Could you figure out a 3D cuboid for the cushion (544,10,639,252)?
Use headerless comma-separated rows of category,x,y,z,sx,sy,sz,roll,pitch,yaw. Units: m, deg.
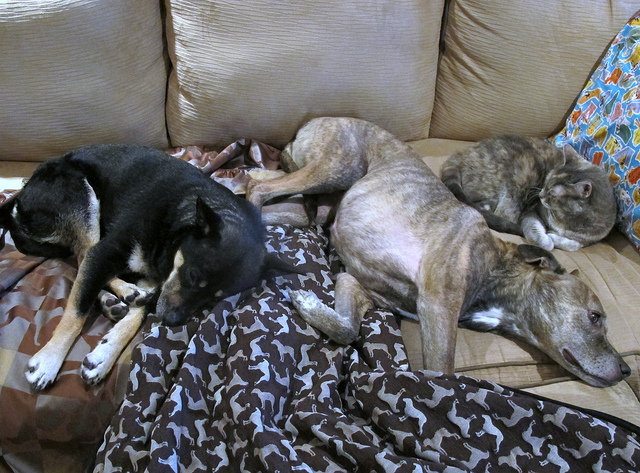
cushion,1.867,-0.649,3.749,0.649,1.287,0.504,9,5,-31

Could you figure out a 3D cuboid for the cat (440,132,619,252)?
cat,1.404,-0.254,3.930,0.874,0.453,0.721,23,61,15

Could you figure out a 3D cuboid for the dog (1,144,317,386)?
dog,-0.942,0.015,3.044,1.385,0.608,1.050,27,32,20
